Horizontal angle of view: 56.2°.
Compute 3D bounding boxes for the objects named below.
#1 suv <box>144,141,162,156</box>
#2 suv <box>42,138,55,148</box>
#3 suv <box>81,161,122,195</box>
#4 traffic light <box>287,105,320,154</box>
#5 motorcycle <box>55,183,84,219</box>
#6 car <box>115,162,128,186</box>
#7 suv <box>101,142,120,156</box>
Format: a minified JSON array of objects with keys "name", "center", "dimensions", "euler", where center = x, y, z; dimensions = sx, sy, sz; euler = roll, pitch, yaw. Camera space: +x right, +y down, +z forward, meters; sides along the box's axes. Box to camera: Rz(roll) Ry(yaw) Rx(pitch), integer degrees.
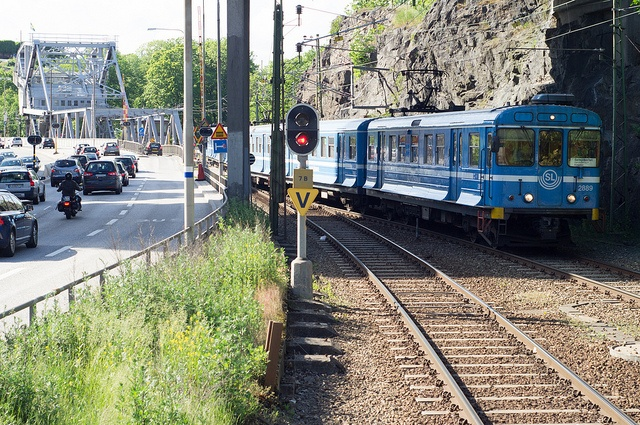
[{"name":"suv","center":[-24.072,-9.293,86.869],"dimensions":[2.540,1.981,1.443],"euler":[2,8,23]},{"name":"suv","center":[-46.757,-12.038,103.508],"dimensions":[1.482,1.409,2.739],"euler":[-3,8,-20]},{"name":"suv","center":[-14.459,-2.368,39.682],"dimensions":[2.238,2.117,1.187],"euler":[-4,8,-18]},{"name":"traffic light","center":[-0.418,-1.926,14.037],"dimensions":[0.787,1.437,0.087],"euler":[0,-27,-3]},{"name":"motorcycle","center":[-11.804,-0.925,28.412],"dimensions":[0.788,1.156,2.064],"euler":[3,30,-15]},{"name":"car","center":[-15.183,-3.010,45.388],"dimensions":[1.112,1.147,2.405],"euler":[0,-4,-10]},{"name":"suv","center":[-28.593,-8.716,82.432],"dimensions":[1.834,1.553,4.214],"euler":[-1,5,-12]}]
